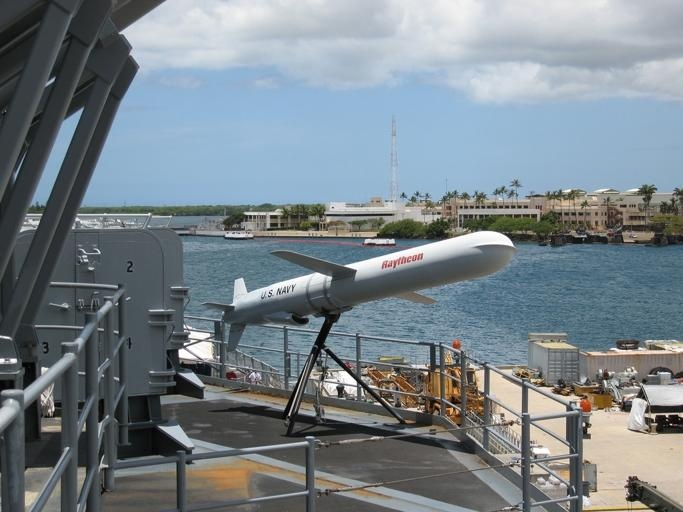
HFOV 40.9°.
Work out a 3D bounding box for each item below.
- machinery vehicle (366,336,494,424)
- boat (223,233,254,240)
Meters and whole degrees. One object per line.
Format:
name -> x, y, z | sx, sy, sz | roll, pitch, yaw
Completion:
machinery vehicle -> 1.868, 2.665, 19.747 | 1.096, 1.283, 3.319 | -3, 3, -33
boat -> -21.791, -4.134, 190.142 | 4.251, 0.896, 2.371 | 0, 3, 42
